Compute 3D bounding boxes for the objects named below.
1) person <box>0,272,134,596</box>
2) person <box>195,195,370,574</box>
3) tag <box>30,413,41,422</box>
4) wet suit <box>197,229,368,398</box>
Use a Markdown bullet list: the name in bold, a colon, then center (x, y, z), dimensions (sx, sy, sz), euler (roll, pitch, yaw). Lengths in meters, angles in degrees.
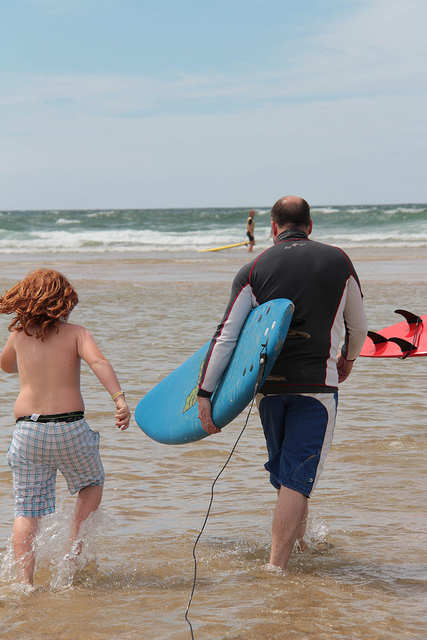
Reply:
- **person**: center (-0.714, 0.479, 4.234), dimensions (0.547, 1.352, 0.485), euler (-7, 13, -26)
- **person**: center (0.345, 0.251, 4.414), dimensions (0.536, 1.609, 0.746), euler (8, 15, 37)
- **tag**: center (-0.763, 0.421, 4.138), dimensions (0.029, 0.028, 0.003), euler (35, 2, 29)
- **wet suit**: center (0.313, -0.009, 4.304), dimensions (0.776, 0.690, 0.357), euler (-1, 12, -2)
